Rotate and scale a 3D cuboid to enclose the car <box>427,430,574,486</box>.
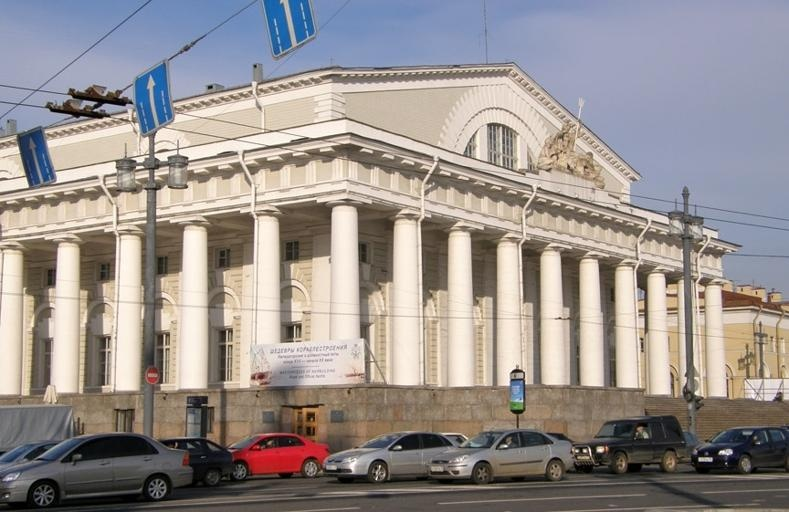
[{"bbox_3d":[4.619,8.389,60.263,5.836,2.328,0.943,5,-16,-19],"label":"car"}]

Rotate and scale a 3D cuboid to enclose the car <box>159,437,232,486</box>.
[{"bbox_3d":[-8.237,8.515,59.440,2.816,1.865,4.709,6,-1,18],"label":"car"}]

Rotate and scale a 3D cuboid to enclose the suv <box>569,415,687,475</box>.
[{"bbox_3d":[10.585,8.480,64.444,4.693,1.902,2.696,8,-14,-31],"label":"suv"}]

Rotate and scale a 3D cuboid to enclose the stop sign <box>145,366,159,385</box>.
[{"bbox_3d":[-10.087,4.939,60.044,0.515,0.812,0.672,4,-16,-13],"label":"stop sign"}]
